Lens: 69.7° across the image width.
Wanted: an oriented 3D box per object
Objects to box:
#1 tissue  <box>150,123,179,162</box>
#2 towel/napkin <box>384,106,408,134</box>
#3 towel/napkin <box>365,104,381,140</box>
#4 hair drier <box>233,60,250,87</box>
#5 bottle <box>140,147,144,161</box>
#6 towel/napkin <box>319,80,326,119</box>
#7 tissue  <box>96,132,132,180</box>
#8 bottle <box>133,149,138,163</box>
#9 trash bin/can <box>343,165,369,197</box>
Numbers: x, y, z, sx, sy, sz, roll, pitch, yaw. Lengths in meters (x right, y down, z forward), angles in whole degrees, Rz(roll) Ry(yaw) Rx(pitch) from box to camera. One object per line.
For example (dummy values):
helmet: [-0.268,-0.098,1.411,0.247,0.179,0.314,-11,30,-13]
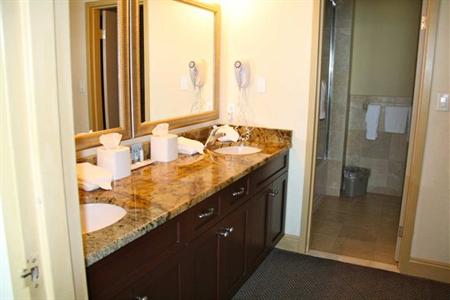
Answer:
tissue : [-0.461,-0.064,2.350,0.175,0.253,0.175,-3,9,-31]
towel/napkin: [2.185,-0.421,4.235,0.297,0.325,0.332,6,25,32]
towel/napkin: [1.965,-0.370,4.357,0.172,0.491,0.141,8,16,30]
hair drier: [0.157,-0.713,2.989,0.157,0.270,0.143,18,33,37]
bottle: [-0.588,0.028,2.292,0.027,0.087,0.053,-1,14,-2]
towel/napkin: [1.122,-0.590,3.766,0.069,0.451,0.109,-6,21,-2]
tissue : [-0.685,0.024,1.998,0.198,0.266,0.191,-7,16,-18]
bottle: [-0.621,0.041,2.260,0.016,0.092,0.053,5,15,22]
trash bin/can: [1.749,0.396,4.540,0.450,0.437,0.365,-1,6,-6]
